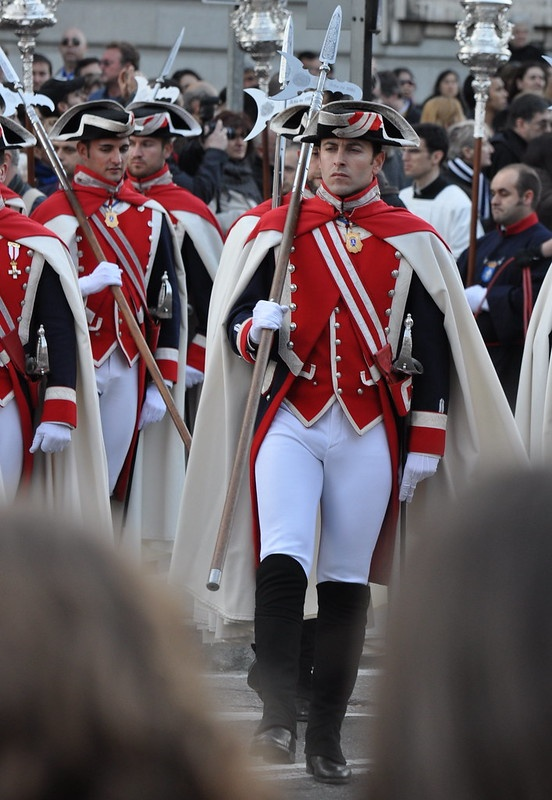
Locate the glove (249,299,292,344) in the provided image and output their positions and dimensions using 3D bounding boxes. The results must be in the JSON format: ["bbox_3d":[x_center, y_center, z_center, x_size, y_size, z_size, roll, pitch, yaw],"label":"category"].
[{"bbox_3d":[-0.022,-0.190,3.796,0.097,0.125,0.174,6,17,0],"label":"glove"}]

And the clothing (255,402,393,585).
[{"bbox_3d":[0.111,0.264,3.693,0.354,0.450,0.392,7,17,3],"label":"clothing"}]

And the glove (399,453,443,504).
[{"bbox_3d":[0.379,0.215,3.919,0.042,0.135,0.097,15,-5,40],"label":"glove"}]
